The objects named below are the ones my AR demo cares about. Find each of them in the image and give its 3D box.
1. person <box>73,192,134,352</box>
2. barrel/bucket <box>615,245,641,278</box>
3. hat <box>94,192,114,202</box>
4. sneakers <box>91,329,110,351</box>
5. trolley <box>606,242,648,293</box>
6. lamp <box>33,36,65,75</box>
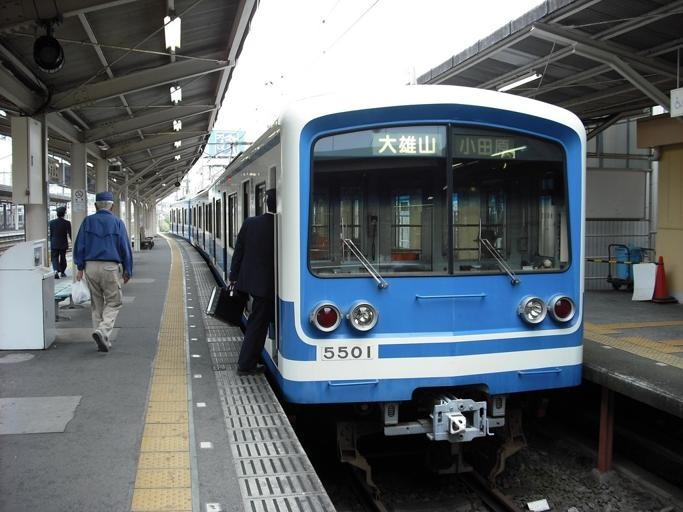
[{"bbox_3d":[-3.161,0.224,6.964,0.693,2.099,0.597,-2,6,-28],"label":"person"},{"bbox_3d":[6.814,0.161,12.604,0.589,0.813,0.789,4,7,37],"label":"barrel/bucket"},{"bbox_3d":[-3.273,-0.807,7.246,0.212,0.137,0.330,0,5,-26],"label":"hat"},{"bbox_3d":[-3.137,1.115,6.921,0.125,0.398,0.168,-12,40,-7],"label":"sneakers"},{"bbox_3d":[6.899,0.267,12.888,0.931,1.073,0.656,-1,4,-44],"label":"trolley"},{"bbox_3d":[-4.262,-2.932,7.663,0.370,0.564,0.412,-4,18,-12],"label":"lamp"}]
